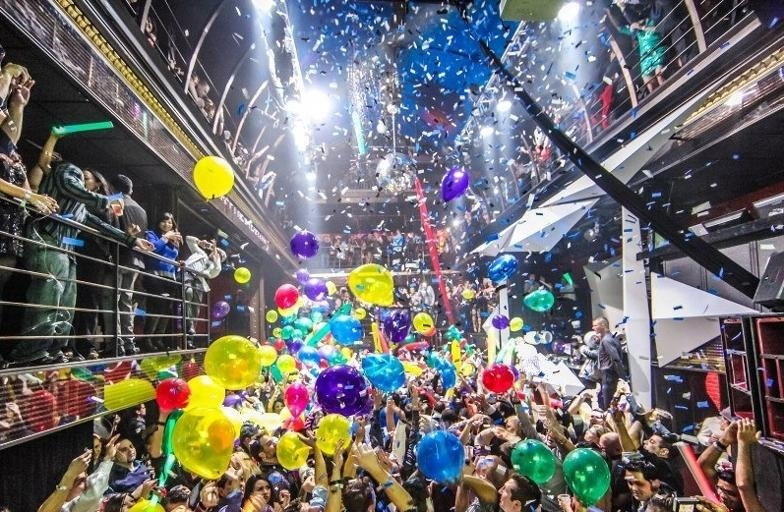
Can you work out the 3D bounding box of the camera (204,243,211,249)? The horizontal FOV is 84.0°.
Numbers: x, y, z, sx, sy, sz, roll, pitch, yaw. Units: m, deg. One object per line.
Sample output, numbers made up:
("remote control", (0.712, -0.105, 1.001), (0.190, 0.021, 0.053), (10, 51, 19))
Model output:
("camera", (-3.129, -0.176, 7.420), (0.091, 0.092, 0.025), (4, 65, -26))
